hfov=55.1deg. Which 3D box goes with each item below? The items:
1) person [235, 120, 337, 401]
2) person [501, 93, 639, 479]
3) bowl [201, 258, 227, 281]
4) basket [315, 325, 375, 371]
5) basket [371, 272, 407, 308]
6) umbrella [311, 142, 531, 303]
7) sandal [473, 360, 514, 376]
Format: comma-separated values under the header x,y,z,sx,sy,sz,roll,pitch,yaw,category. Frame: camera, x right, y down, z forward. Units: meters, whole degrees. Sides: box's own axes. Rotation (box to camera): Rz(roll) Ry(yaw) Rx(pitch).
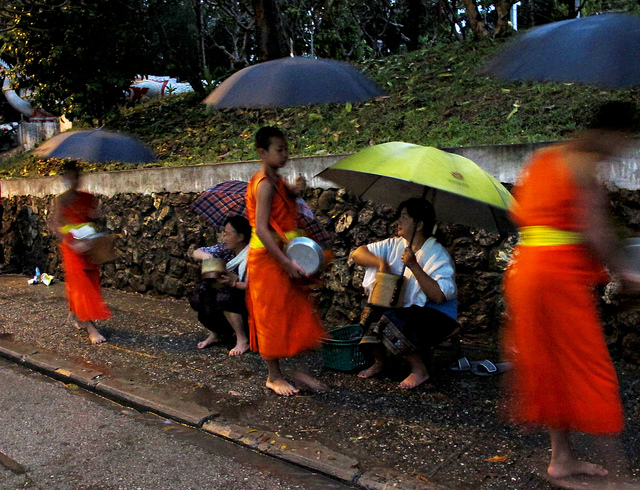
x,y,z,sx,sy,sz,roll,pitch,yaw,category
-0.297,0.146,5.059,0.806,2.237,0.775,-9,15,-1,person
1.549,0.335,3.801,0.690,2.394,0.603,-2,17,23,person
-1.018,0.234,5.940,0.268,0.216,0.225,-8,13,-10,bowl
0.153,0.959,5.523,0.494,0.250,0.629,-1,2,36,basket
0.615,0.389,5.116,0.361,0.241,0.293,7,-4,-1,basket
0.919,-0.361,5.609,1.377,0.794,1.184,18,34,9,umbrella
1.531,1.086,5.371,0.323,0.056,0.133,-3,6,-17,sandal
